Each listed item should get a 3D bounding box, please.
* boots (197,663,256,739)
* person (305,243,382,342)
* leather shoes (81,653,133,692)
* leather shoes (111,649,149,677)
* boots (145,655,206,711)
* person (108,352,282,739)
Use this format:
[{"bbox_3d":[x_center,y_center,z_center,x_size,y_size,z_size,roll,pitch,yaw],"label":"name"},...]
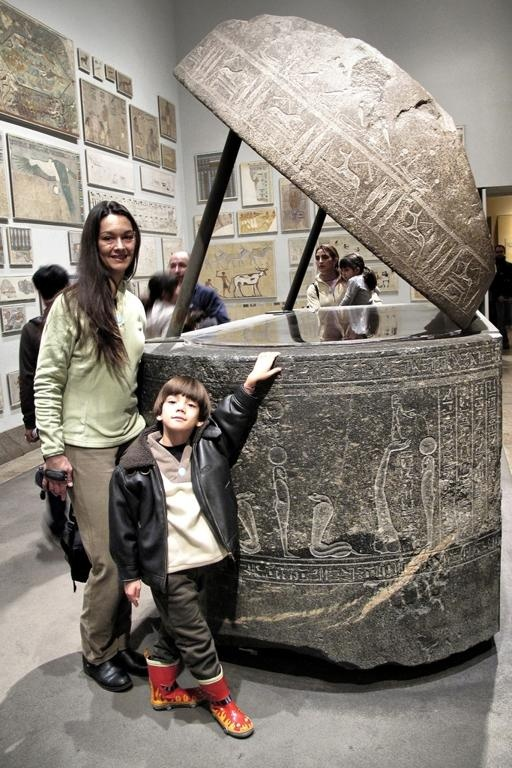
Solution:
[{"bbox_3d":[-0.092,0.953,1.782,0.107,0.178,0.252,-16,-9,-22],"label":"boots"},{"bbox_3d":[0.660,-0.573,4.754,0.472,1.072,0.449,-2,3,-30],"label":"person"},{"bbox_3d":[-0.520,0.984,2.007,0.073,0.086,0.200,5,-9,-44],"label":"leather shoes"},{"bbox_3d":[-0.448,0.993,2.078,0.162,0.068,0.054,-6,-4,44],"label":"leather shoes"},{"bbox_3d":[-0.287,0.943,1.919,0.222,0.215,0.116,-2,3,-14],"label":"boots"},{"bbox_3d":[-0.178,0.470,1.759,0.515,1.115,0.301,-3,2,-15],"label":"person"}]
